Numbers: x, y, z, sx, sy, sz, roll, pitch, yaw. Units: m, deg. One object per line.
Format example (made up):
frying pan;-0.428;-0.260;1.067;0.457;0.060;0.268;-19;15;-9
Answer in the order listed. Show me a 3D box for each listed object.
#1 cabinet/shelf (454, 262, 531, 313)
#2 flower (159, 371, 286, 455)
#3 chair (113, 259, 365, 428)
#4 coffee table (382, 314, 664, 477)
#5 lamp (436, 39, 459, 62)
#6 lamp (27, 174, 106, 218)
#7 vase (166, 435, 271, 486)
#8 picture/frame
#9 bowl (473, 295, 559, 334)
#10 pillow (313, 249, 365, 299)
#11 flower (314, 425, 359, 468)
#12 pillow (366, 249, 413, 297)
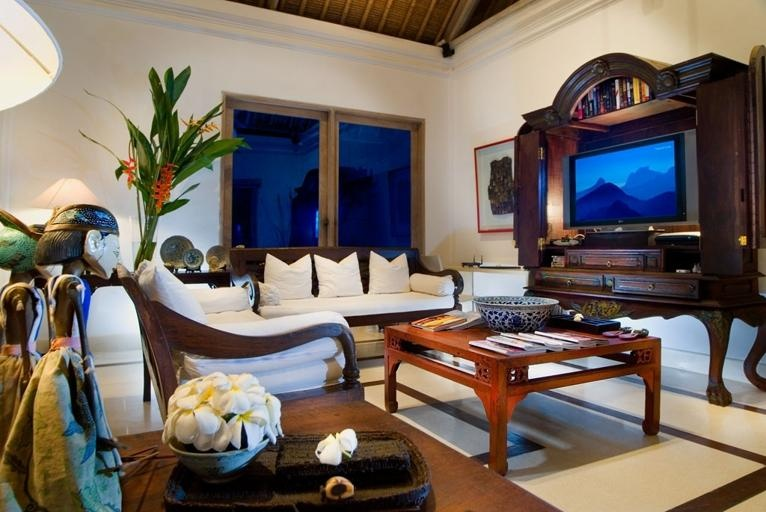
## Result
cabinet/shelf;1.000;0.271;4.721;0.196;0.496;0.536;2;-2;-27
flower;-0.517;0.481;1.620;0.275;0.149;0.274;1;1;-1
chair;-0.775;0.437;2.796;0.934;0.859;0.920;0;-2;-28
coffee table;0.599;0.608;3.047;0.974;0.474;0.977;0;-3;-28
lamp;0.768;-2.549;6.400;0.218;0.271;0.232;6;10;40
lamp;-2.460;-0.470;3.949;0.624;0.315;0.615;0;7;-13
vase;-0.523;0.654;1.641;0.185;0.071;0.181;2;-1;-29
picture/frame;1.263;-0.792;5.982;0.127;1.073;0.653;-5;8;-27
bowl;0.806;0.341;3.048;0.304;0.110;0.298;-1;1;0
pillow;-0.454;0.184;5.017;0.356;0.334;0.183;-17;-31;-22
flower;-0.152;0.630;1.696;0.103;0.044;0.109;-6;9;2
pillow;0.042;0.182;5.215;0.413;0.382;0.213;-1;-28;-20
